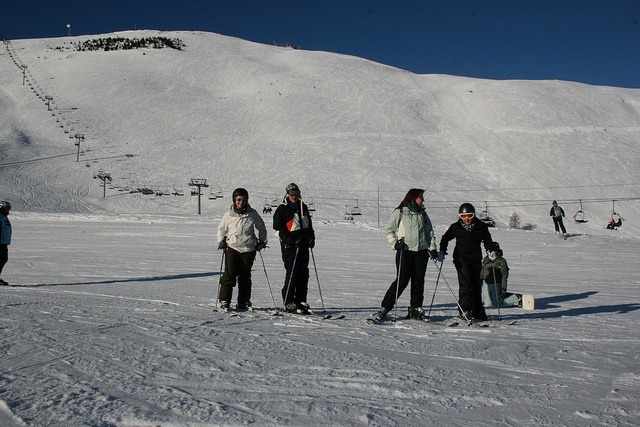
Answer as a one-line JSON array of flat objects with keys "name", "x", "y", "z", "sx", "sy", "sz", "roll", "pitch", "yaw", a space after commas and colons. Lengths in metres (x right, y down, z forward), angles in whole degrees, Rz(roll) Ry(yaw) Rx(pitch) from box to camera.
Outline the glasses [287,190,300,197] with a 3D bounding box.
[{"name": "glasses", "x": -0.691, "y": -0.532, "z": 16.954, "sx": 0.310, "sy": 0.178, "sz": 0.195, "roll": 1, "pitch": 2, "yaw": -5}]

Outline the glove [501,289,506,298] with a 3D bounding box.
[{"name": "glove", "x": 5.041, "y": 2.220, "z": 18.124, "sx": 0.191, "sy": 0.254, "sz": 0.146, "roll": 0, "pitch": 2, "yaw": 5}]

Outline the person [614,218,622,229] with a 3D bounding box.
[{"name": "person", "x": 21.401, "y": 0.705, "z": 47.209, "sx": 0.451, "sy": 0.627, "sz": 1.358, "roll": -2, "pitch": -20, "yaw": 11}]

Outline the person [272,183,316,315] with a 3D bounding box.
[{"name": "person", "x": -0.677, "y": 0.908, "z": 16.925, "sx": 0.938, "sy": 3.308, "sz": 0.418, "roll": 1, "pitch": 2, "yaw": -4}]

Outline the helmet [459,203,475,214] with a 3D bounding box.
[{"name": "helmet", "x": 3.724, "y": -0.179, "z": 16.655, "sx": 0.268, "sy": 0.254, "sz": 0.321, "roll": 3, "pitch": 21, "yaw": 17}]

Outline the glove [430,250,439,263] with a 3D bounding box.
[{"name": "glove", "x": 2.839, "y": 1.041, "z": 16.437, "sx": 0.208, "sy": 0.276, "sz": 0.238, "roll": 2, "pitch": 2, "yaw": 7}]

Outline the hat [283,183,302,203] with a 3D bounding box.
[{"name": "hat", "x": -0.719, "y": -0.552, "z": 17.094, "sx": 0.381, "sy": 0.474, "sz": 0.481, "roll": 1, "pitch": -8, "yaw": -6}]

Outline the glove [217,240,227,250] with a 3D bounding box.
[{"name": "glove", "x": -2.517, "y": 0.796, "z": 16.801, "sx": 0.298, "sy": 0.247, "sz": 0.148, "roll": -1, "pitch": 3, "yaw": -43}]

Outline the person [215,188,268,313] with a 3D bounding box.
[{"name": "person", "x": -2.056, "y": 0.924, "z": 16.994, "sx": 1.212, "sy": 3.153, "sz": 0.731, "roll": 1, "pitch": 2, "yaw": -10}]

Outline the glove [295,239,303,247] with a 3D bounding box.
[{"name": "glove", "x": -0.563, "y": 0.771, "z": 16.831, "sx": 0.152, "sy": 0.266, "sz": 0.199, "roll": 14, "pitch": -21, "yaw": -42}]

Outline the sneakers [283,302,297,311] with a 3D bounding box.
[{"name": "sneakers", "x": -0.753, "y": 2.416, "z": 16.813, "sx": 0.139, "sy": 0.180, "sz": 0.406, "roll": 8, "pitch": -17, "yaw": -40}]

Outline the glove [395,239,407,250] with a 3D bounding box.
[{"name": "glove", "x": 2.012, "y": 0.786, "z": 16.414, "sx": 0.311, "sy": 0.294, "sz": 0.168, "roll": 2, "pitch": 2, "yaw": 6}]

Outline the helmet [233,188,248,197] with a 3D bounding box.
[{"name": "helmet", "x": -2.073, "y": -0.536, "z": 16.952, "sx": 0.360, "sy": 0.231, "sz": 0.353, "roll": 1, "pitch": 2, "yaw": -15}]

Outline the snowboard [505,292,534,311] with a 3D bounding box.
[{"name": "snowboard", "x": 5.566, "y": 2.398, "z": 17.886, "sx": 0.222, "sy": 0.384, "sz": 0.569, "roll": 0, "pitch": 3, "yaw": -39}]

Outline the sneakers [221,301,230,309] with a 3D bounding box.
[{"name": "sneakers", "x": -2.428, "y": 2.348, "z": 16.746, "sx": 0.186, "sy": 0.163, "sz": 0.179, "roll": -2, "pitch": -6, "yaw": -1}]

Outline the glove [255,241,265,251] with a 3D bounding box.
[{"name": "glove", "x": -1.574, "y": 0.836, "z": 16.968, "sx": 0.186, "sy": 0.091, "sz": 0.252, "roll": -10, "pitch": -13, "yaw": -27}]

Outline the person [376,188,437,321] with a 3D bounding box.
[{"name": "person", "x": 2.244, "y": 1.020, "z": 16.568, "sx": 1.414, "sy": 3.320, "sz": 0.655, "roll": 2, "pitch": 2, "yaw": 5}]

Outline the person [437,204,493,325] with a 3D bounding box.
[{"name": "person", "x": 3.748, "y": 1.245, "z": 16.626, "sx": 1.268, "sy": 2.974, "sz": 0.515, "roll": 2, "pitch": 2, "yaw": 10}]
